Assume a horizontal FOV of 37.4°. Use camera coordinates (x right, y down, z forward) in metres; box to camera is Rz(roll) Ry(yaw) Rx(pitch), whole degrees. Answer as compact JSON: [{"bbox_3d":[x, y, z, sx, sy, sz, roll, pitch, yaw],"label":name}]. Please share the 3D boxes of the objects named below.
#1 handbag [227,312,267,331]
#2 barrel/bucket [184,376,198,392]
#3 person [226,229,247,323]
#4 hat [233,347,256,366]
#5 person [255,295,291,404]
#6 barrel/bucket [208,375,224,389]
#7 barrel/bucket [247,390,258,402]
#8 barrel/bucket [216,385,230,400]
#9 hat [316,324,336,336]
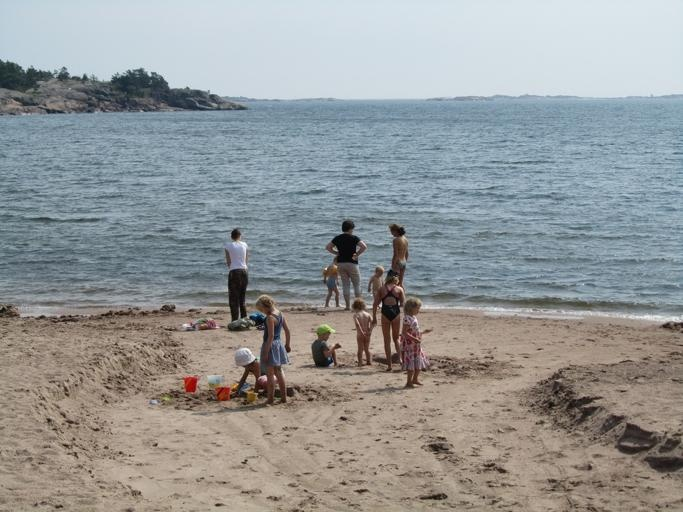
[{"bbox_3d":[-2.150,1.513,22.914,0.879,0.290,0.615,-1,2,-6],"label":"handbag"},{"bbox_3d":[-2.877,2.429,19.071,0.312,0.280,0.276,2,-7,-12],"label":"barrel/bucket"},{"bbox_3d":[-2.419,0.441,23.077,0.469,2.222,1.004,-1,12,-7],"label":"person"},{"bbox_3d":[-1.899,1.902,18.851,0.343,0.186,0.394,-35,31,-30],"label":"hat"},{"bbox_3d":[-1.233,1.689,18.436,0.600,2.026,0.350,-3,12,-15],"label":"person"},{"bbox_3d":[-2.394,2.362,19.066,0.356,0.200,0.234,1,1,-3],"label":"barrel/bucket"},{"bbox_3d":[-1.685,2.598,18.686,0.196,0.122,0.189,6,4,0],"label":"barrel/bucket"},{"bbox_3d":[-2.184,2.552,18.818,0.254,0.172,0.283,13,17,43],"label":"barrel/bucket"},{"bbox_3d":[-0.283,1.505,20.257,0.429,0.186,0.241,-1,13,-12],"label":"hat"}]
